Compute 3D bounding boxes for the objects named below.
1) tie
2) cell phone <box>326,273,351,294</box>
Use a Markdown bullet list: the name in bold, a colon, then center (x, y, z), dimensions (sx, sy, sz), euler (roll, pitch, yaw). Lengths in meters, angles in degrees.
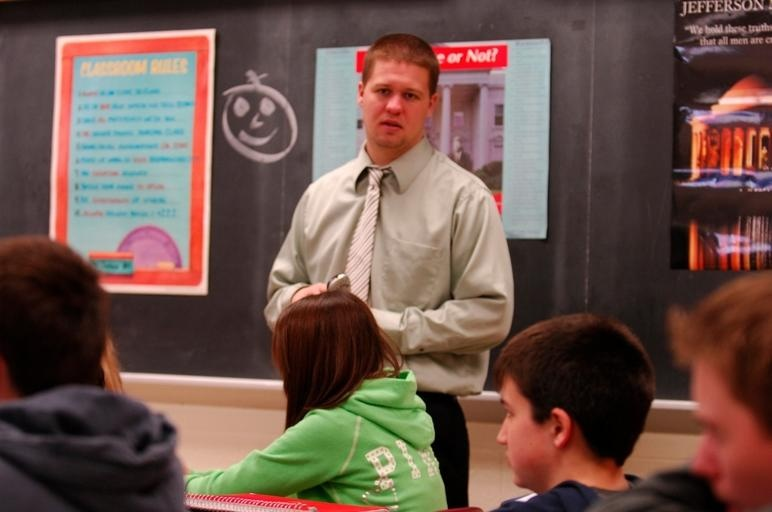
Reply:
- **tie**: center (-0.062, -0.063, 2.272), dimensions (0.119, 0.500, 0.044), euler (9, -18, 10)
- **cell phone**: center (-0.147, 0.087, 2.122), dimensions (0.063, 0.061, 0.019), euler (-5, 20, -45)
